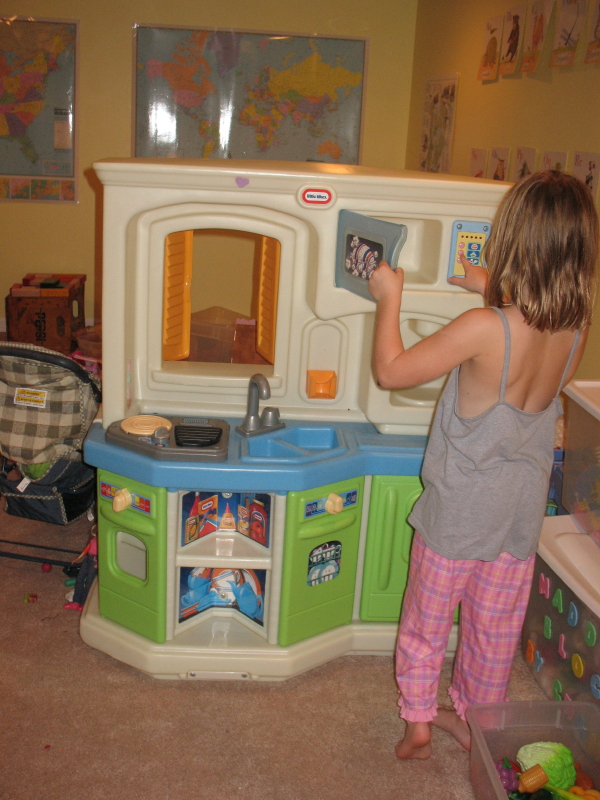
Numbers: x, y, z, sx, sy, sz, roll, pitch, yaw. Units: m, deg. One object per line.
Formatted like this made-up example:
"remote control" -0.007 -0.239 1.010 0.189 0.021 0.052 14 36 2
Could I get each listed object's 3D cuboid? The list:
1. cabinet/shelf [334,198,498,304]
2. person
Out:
"cabinet/shelf" 0.260 -0.373 1.649 0.319 0.197 0.314 7 18 -14
"person" 0.325 0.243 1.413 0.432 1.387 0.451 6 12 5
